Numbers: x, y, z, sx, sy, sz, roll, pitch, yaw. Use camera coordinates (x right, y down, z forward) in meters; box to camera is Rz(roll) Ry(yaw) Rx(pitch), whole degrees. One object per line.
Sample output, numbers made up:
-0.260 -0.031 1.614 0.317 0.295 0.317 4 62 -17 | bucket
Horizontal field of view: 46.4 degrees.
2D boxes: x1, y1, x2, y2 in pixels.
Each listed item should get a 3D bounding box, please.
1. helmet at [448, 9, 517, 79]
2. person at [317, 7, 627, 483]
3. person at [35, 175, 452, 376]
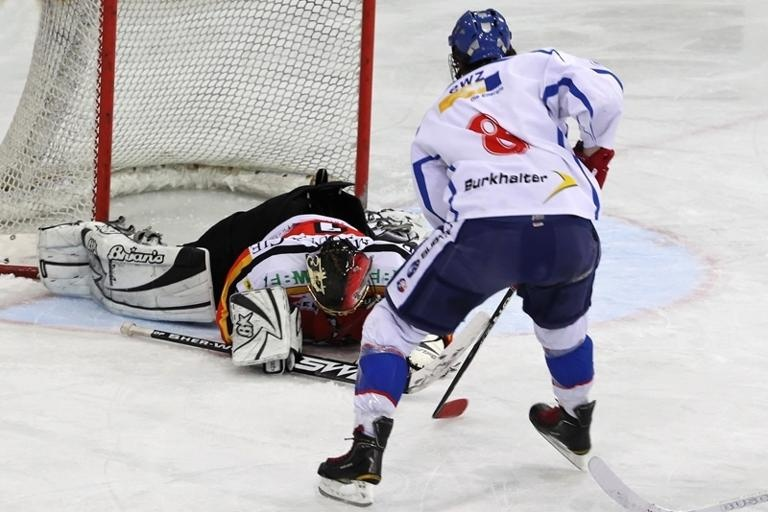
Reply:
0.347 -0.871 3.664 0.291 0.252 0.290 -5 15 0 | helmet
0.339 -0.056 3.641 1.543 1.781 0.934 -3 -5 -40 | person
-0.974 0.150 4.832 1.498 0.462 1.806 12 -2 -31 | person
